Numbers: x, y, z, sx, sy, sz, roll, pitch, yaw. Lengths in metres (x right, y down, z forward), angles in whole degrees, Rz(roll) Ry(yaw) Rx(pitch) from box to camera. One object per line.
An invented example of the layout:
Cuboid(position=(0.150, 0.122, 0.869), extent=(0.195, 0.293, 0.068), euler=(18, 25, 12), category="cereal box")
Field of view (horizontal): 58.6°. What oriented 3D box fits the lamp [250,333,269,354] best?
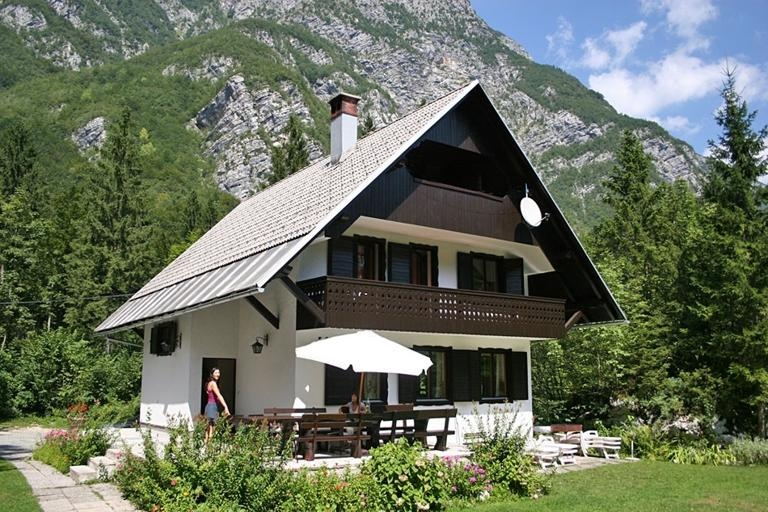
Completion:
Cuboid(position=(-5.832, 4.135, 32.369), extent=(0.855, 1.199, 0.846), euler=(12, -18, -37), category="lamp")
